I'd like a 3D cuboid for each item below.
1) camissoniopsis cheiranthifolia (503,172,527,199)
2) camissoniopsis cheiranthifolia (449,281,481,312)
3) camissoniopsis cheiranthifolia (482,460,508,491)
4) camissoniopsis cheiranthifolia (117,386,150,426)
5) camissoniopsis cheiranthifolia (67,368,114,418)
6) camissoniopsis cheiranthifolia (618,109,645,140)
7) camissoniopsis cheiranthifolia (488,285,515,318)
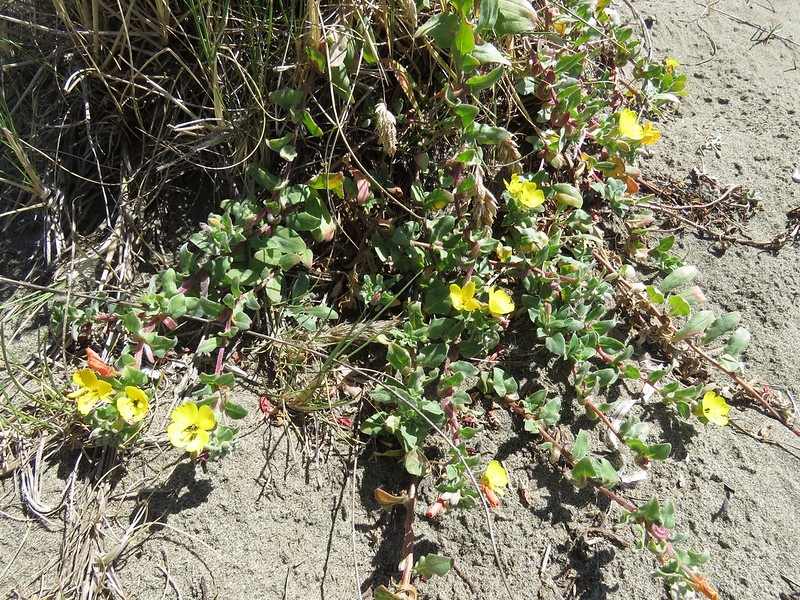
[{"bbox_3d":[0.471,-0.490,2.973,0.093,0.096,0.057,45,20,13],"label":"camissoniopsis cheiranthifolia"},{"bbox_3d":[0.246,-0.015,2.758,0.112,0.063,0.113,-41,84,2],"label":"camissoniopsis cheiranthifolia"},{"bbox_3d":[0.352,0.663,2.664,0.111,0.056,0.095,-41,81,-5],"label":"camissoniopsis cheiranthifolia"},{"bbox_3d":[-0.972,0.378,2.559,0.108,0.096,0.094,26,43,-3],"label":"camissoniopsis cheiranthifolia"},{"bbox_3d":[-1.128,0.332,2.621,0.156,0.086,0.169,-39,101,-11],"label":"camissoniopsis cheiranthifolia"},{"bbox_3d":[0.999,-0.792,3.097,0.117,0.063,0.135,47,62,-24],"label":"camissoniopsis cheiranthifolia"},{"bbox_3d":[0.384,0.022,2.762,0.102,0.054,0.106,34,47,-5],"label":"camissoniopsis cheiranthifolia"}]
